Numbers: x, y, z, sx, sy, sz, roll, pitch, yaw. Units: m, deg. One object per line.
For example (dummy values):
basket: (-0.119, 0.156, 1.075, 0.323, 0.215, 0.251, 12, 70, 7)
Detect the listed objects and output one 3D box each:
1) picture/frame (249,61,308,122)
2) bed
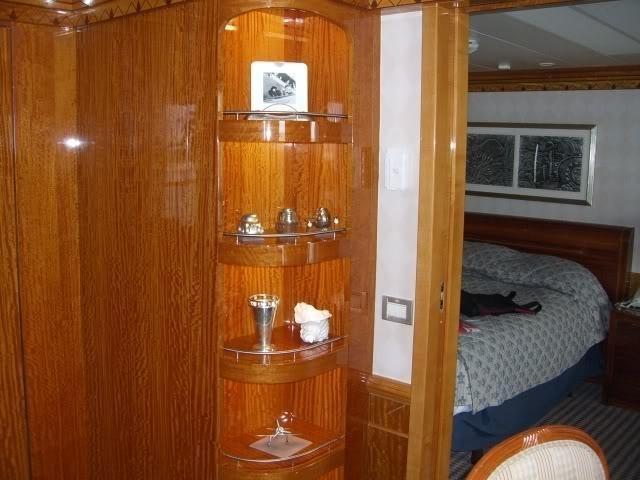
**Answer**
picture/frame: (-0.178, -0.620, 2.180, 0.277, 0.290, 0.019, -1, 4, -15)
bed: (1.727, 0.736, 3.887, 0.541, 1.155, 1.697, 3, 1, -42)
